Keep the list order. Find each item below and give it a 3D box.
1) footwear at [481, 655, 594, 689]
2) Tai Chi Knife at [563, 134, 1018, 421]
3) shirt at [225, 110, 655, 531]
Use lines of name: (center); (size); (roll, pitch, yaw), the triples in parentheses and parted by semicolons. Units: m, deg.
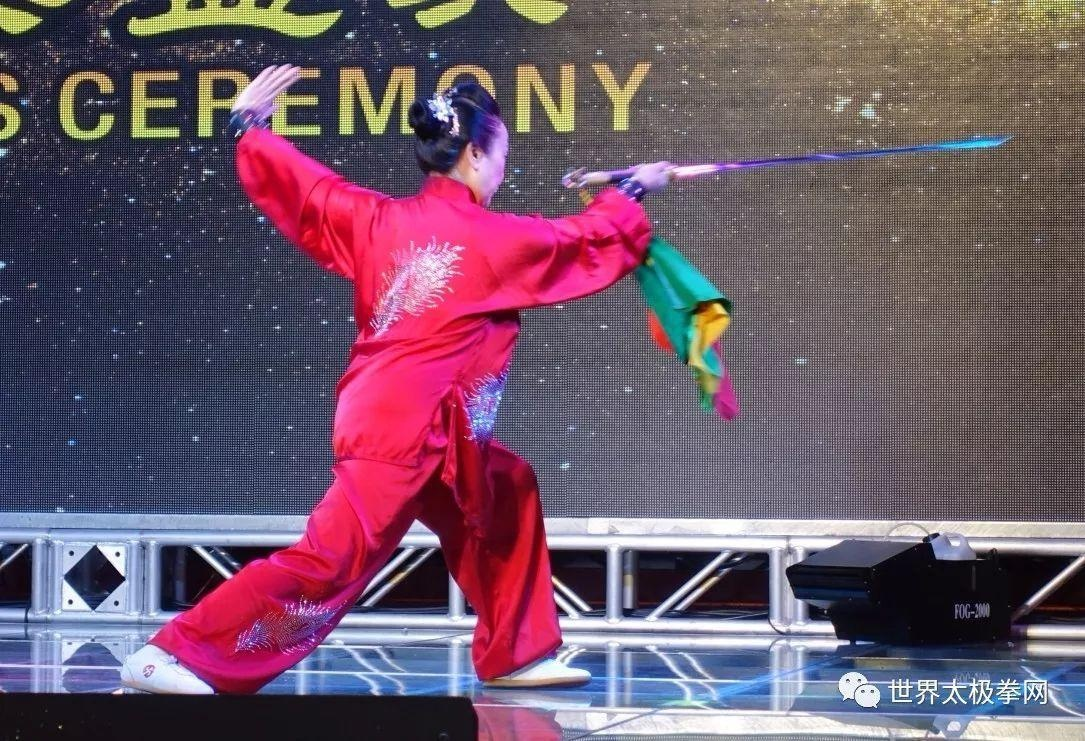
footwear: (-0.021, 1.008, 7.444); (0.373, 0.100, 0.112); (-1, -9, -4)
Tai Chi Knife: (0.745, -0.244, 7.160); (0.290, 0.844, 1.715); (-6, 2, -43)
shirt: (-0.281, -0.157, 7.781); (1.928, 0.984, 0.756); (10, 17, 8)
